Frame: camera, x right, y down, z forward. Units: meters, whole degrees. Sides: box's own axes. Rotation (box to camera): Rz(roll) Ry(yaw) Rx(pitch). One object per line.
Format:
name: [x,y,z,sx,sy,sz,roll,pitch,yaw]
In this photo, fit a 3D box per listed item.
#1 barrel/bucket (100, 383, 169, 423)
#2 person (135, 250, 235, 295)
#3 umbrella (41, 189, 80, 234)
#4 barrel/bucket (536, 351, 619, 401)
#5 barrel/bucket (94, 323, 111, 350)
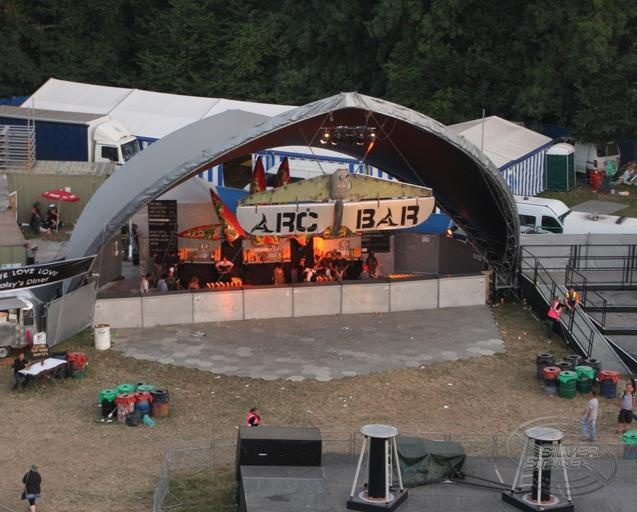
barrel/bucket: [-6.022,4.668,39.295,2.175,1.060,1.963,-1,12,-28]
person: [-5.042,0.906,48.250,3.494,1.439,0.948,-5,15,-18]
umbrella: [-11.413,-1.985,54.584,1.515,1.893,2.201,-5,14,-12]
barrel/bucket: [8.432,3.988,41.157,2.365,1.344,1.435,6,15,31]
barrel/bucket: [-7.584,2.865,43.251,0.603,0.805,0.702,-4,14,-11]
